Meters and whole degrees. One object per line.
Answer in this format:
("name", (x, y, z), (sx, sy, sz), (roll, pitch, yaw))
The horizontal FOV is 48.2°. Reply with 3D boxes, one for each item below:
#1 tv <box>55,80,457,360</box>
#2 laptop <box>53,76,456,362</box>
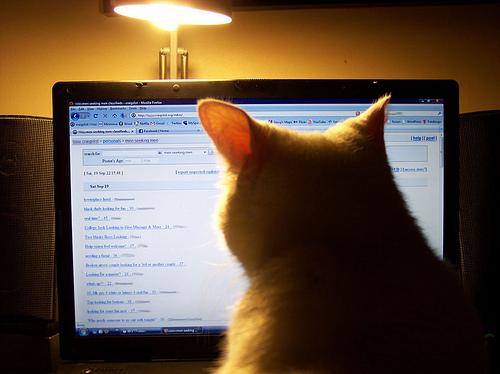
("tv", (-0.017, 0.051, 1.297), (0.971, 0.600, 0.549), (-1, 2, -1))
("laptop", (-0.018, 0.065, 1.062), (0.609, 0.383, 0.019), (-1, -1, -1))
